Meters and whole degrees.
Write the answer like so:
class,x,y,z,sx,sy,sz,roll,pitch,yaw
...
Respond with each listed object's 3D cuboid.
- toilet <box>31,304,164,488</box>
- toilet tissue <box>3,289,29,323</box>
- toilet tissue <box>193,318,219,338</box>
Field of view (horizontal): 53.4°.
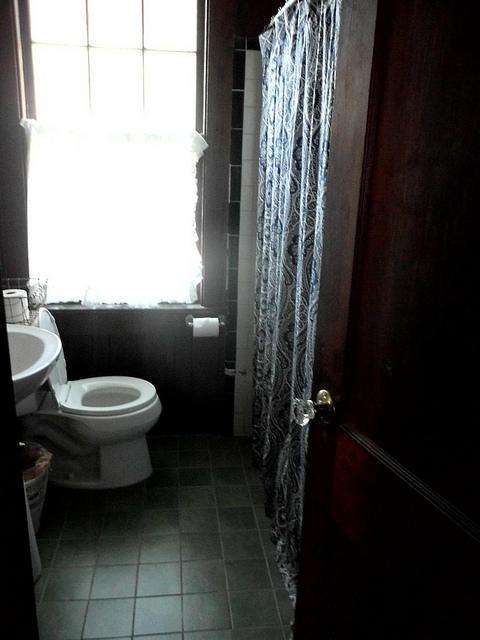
class,x,y,z,sx,sy,sz,roll,pitch,yaw
toilet,-0.655,0.322,2.144,0.462,0.818,0.386,-1,15,-13
toilet tissue,-0.847,-0.053,1.805,0.067,0.100,0.078,9,25,17
toilet tissue,-0.180,0.041,2.461,0.132,0.116,0.095,0,10,-5
